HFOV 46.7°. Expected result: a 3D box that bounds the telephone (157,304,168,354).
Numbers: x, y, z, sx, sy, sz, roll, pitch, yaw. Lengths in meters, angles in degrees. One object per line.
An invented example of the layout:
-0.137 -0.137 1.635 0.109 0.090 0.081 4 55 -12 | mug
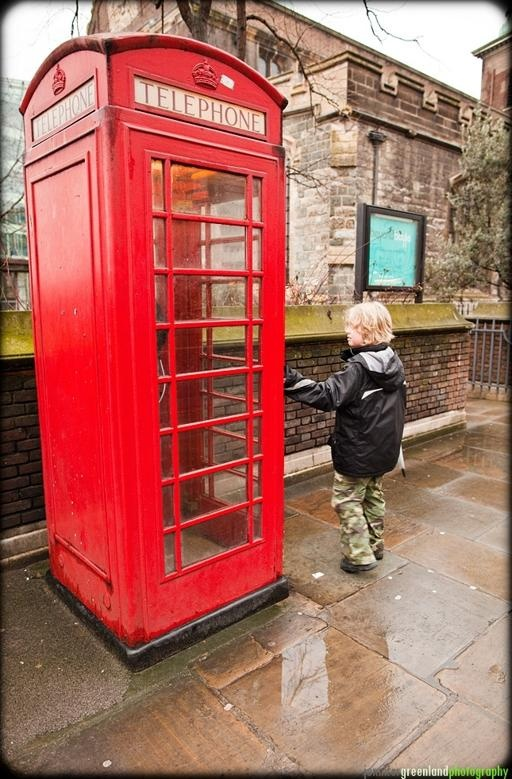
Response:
-0.415 -0.261 2.601 0.037 0.171 0.153 -4 -20 -7 | telephone

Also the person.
0.561 0.318 3.525 0.857 1.654 0.405 -6 10 -33 | person
